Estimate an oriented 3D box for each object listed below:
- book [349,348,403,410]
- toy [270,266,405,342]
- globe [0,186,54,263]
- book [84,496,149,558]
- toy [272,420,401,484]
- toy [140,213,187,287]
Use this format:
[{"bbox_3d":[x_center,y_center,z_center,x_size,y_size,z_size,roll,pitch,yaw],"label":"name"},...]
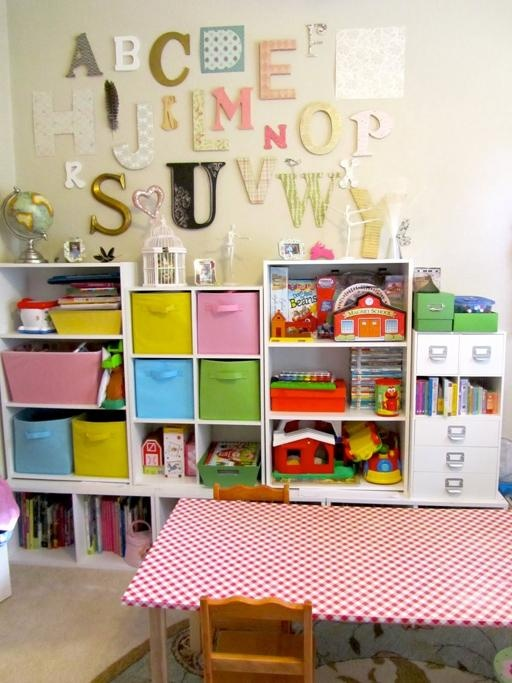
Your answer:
[{"bbox_3d":[0.509,0.155,2.523,0.269,0.319,0.252,0,0,0],"label":"book"},{"bbox_3d":[0.347,-0.165,2.487,0.560,0.311,0.290,0,5,8],"label":"toy"},{"bbox_3d":[-1.036,-0.506,2.556,0.242,0.328,0.132,0,6,13],"label":"globe"},{"bbox_3d":[-0.623,0.806,2.659,0.264,0.286,0.341,0,-5,-3],"label":"book"},{"bbox_3d":[0.364,0.449,2.530,0.407,0.162,0.296,1,3,4],"label":"toy"},{"bbox_3d":[-0.400,-0.380,2.533,0.199,0.295,0.196,-3,13,-10],"label":"toy"}]
